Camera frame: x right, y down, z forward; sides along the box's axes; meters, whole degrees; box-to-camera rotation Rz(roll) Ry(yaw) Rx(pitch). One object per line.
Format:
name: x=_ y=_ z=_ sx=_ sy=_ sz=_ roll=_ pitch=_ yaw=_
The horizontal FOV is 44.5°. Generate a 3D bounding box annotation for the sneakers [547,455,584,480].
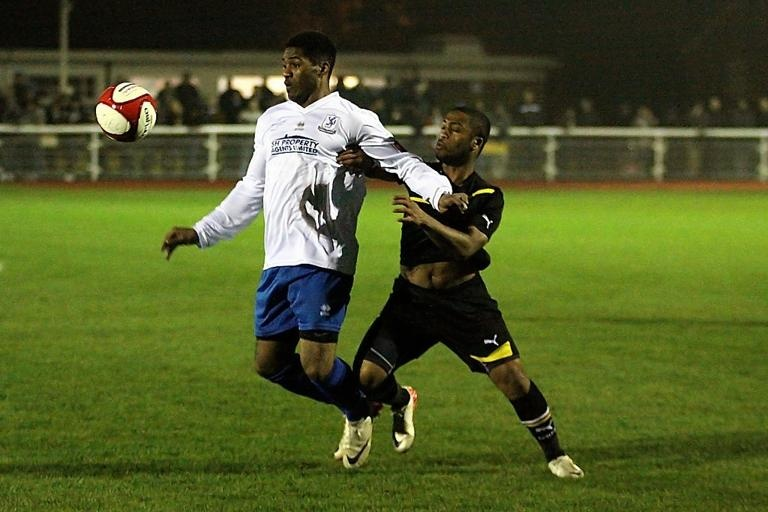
sneakers: x=1.368 y=1.576 z=6.986 sx=0.250 sy=0.134 sz=0.103 roll=26 pitch=-23 yaw=27

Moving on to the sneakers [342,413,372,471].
sneakers: x=-0.206 y=1.407 z=7.115 sx=0.154 sy=0.178 sz=0.418 roll=-11 pitch=37 yaw=27

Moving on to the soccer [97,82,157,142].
soccer: x=-2.054 y=-1.194 z=7.848 sx=0.561 sy=0.467 sz=0.497 roll=-1 pitch=8 yaw=-1

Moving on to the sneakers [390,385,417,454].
sneakers: x=0.193 y=1.278 z=7.353 sx=0.175 sy=0.478 sz=0.210 roll=-17 pitch=-28 yaw=35
